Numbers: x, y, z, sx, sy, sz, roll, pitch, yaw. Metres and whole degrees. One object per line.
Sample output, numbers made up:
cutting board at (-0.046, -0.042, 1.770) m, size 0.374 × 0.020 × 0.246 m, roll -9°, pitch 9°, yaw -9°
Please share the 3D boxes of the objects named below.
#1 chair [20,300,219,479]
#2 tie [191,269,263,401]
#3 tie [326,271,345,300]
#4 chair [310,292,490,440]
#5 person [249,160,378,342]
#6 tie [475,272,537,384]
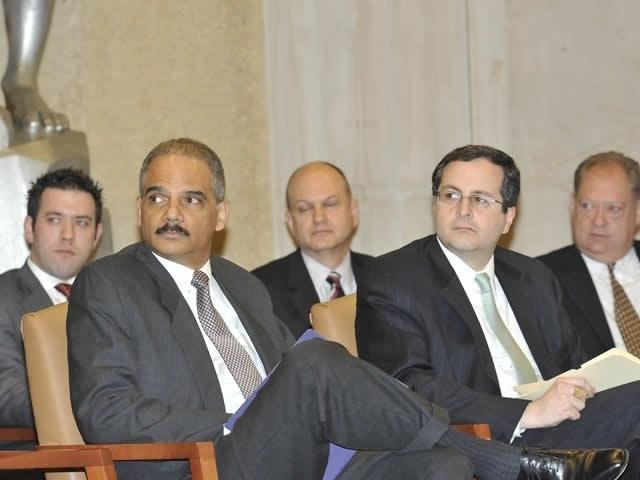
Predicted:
chair at (-0.750, 0.609, 2.656) m, size 0.747 × 0.979 × 0.622 m, roll -3°, pitch -7°, yaw 7°
tie at (-0.414, 0.435, 2.742) m, size 0.121 × 0.594 × 0.073 m, roll -14°, pitch -27°, yaw -47°
tie at (0.097, 0.287, 3.986) m, size 0.113 × 0.158 × 0.039 m, roll -9°, pitch -2°, yaw -36°
chair at (0.394, 0.551, 2.966) m, size 0.553 × 0.757 × 0.582 m, roll -3°, pitch -7°, yaw -41°
person at (-0.091, 0.055, 3.839) m, size 1.141 × 0.992 × 0.602 m, roll -2°, pitch 0°, yaw -17°
tie at (0.838, 0.414, 2.953) m, size 0.142 × 0.647 × 0.075 m, roll -21°, pitch -13°, yaw 1°
